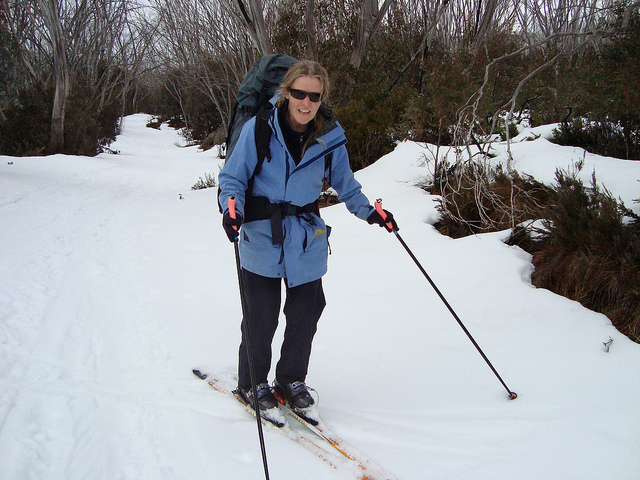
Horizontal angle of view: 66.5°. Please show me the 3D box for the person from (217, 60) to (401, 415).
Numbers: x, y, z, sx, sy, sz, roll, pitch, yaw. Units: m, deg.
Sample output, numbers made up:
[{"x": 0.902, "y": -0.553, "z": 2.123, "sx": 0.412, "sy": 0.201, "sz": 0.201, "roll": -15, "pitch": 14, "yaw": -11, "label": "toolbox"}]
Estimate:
[{"x": -0.223, "y": 0.010, "z": 3.904, "sx": 1.161, "sy": 2.826, "sz": 0.472, "roll": 1, "pitch": 9, "yaw": -24, "label": "person"}]

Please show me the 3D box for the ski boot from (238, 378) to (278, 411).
[{"x": -0.525, "y": 1.266, "z": 4.065, "sx": 0.369, "sy": 0.169, "sz": 0.140, "roll": 38, "pitch": 22, "yaw": 33, "label": "ski boot"}]

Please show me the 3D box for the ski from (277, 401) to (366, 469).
[{"x": -0.005, "y": 1.575, "z": 3.868, "sx": 0.077, "sy": 0.123, "sz": 0.975, "roll": 40, "pitch": -8, "yaw": -35, "label": "ski"}]
